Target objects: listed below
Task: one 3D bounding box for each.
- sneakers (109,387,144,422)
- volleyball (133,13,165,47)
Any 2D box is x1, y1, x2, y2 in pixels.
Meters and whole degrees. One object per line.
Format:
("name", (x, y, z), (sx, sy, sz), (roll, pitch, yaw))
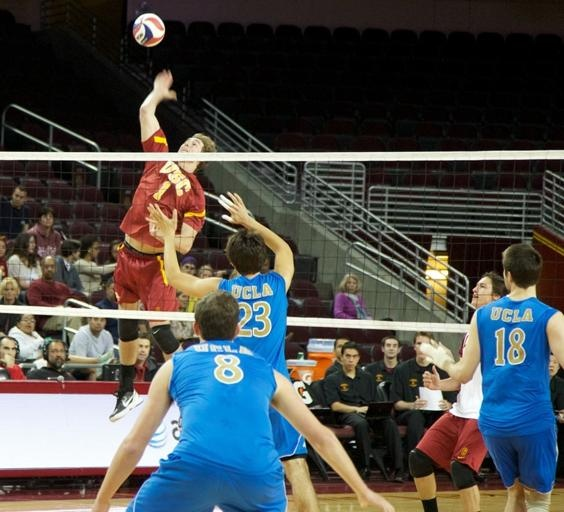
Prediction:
("sneakers", (-1.574, 1.436, 8.967), (0.142, 0.221, 0.440), (3, 23, 36))
("volleyball", (-1.362, -2.318, 9.231), (0.281, 0.362, 0.297), (7, 11, -3))
